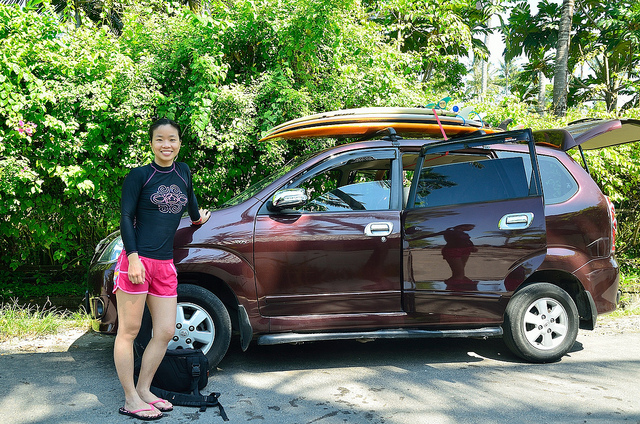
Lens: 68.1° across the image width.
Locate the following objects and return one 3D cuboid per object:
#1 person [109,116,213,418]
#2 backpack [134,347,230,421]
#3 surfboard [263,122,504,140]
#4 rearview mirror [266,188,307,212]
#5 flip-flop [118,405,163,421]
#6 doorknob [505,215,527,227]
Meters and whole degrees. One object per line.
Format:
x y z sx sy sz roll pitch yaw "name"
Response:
-1.519 0.553 4.437 0.794 2.992 0.868 -1 6 -20 "person"
-1.327 1.804 4.504 0.673 0.726 0.311 9 -18 -17 "backpack"
0.821 -1.128 6.035 2.565 0.227 0.498 1 -8 5 "surfboard"
-0.333 -0.123 5.064 0.486 0.194 0.219 -8 -3 9 "rearview mirror"
-1.607 2.030 4.225 0.373 0.080 0.141 3 11 9 "flip-flop"
2.168 0.134 5.236 0.231 0.140 0.052 0 6 -12 "doorknob"
